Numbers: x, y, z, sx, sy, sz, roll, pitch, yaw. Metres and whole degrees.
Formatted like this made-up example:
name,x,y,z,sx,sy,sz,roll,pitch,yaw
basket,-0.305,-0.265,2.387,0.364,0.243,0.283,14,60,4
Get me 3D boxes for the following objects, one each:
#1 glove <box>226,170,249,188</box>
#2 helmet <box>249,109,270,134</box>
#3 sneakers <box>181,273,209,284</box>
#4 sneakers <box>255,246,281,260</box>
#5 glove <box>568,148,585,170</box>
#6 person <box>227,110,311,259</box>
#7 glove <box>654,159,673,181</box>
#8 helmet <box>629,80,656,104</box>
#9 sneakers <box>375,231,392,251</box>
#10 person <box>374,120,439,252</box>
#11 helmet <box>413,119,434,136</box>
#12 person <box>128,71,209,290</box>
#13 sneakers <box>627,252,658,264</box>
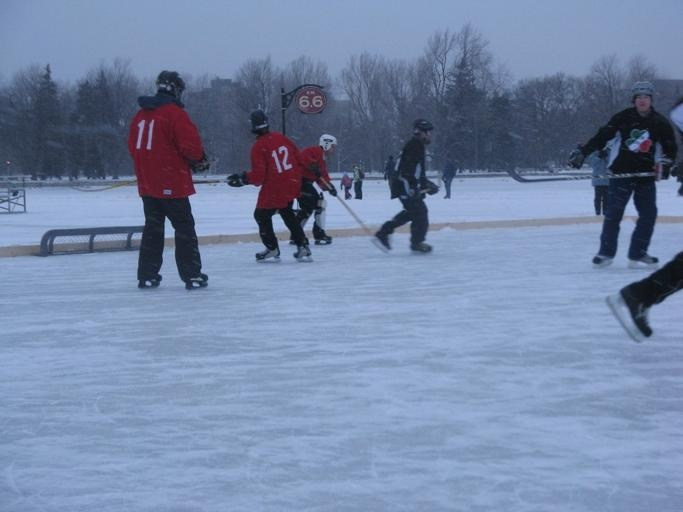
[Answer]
name,x,y,z,sx,sy,sz,roll,pitch,yaw
glove,-1.016,-0.743,10.426,0.143,0.080,0.198,-9,7,-40
helmet,-0.789,-1.360,10.765,0.209,0.238,0.253,0,21,-2
sneakers,-1.234,0.201,8.882,0.214,0.085,0.073,-16,14,32
sneakers,-0.771,-0.025,10.865,0.305,0.154,0.101,2,3,-5
glove,2.099,-0.861,9.633,0.146,0.176,0.190,-15,-20,33
person,-0.717,-0.662,10.658,0.751,1.513,0.550,-3,14,-12
glove,2.807,-0.748,9.366,0.206,0.219,0.157,1,-2,21
helmet,2.655,-1.448,9.460,0.202,0.193,0.220,2,1,21
sneakers,0.432,-0.174,11.603,0.175,0.241,0.336,0,13,1
person,0.726,-0.761,11.859,0.652,1.524,1.239,1,14,5
helmet,0.894,-1.395,11.610,0.213,0.149,0.156,-13,18,-20
person,-1.431,-0.538,8.858,0.642,1.566,0.567,-2,14,-7
sneakers,2.738,0.018,9.779,0.280,0.102,0.098,-1,4,6
